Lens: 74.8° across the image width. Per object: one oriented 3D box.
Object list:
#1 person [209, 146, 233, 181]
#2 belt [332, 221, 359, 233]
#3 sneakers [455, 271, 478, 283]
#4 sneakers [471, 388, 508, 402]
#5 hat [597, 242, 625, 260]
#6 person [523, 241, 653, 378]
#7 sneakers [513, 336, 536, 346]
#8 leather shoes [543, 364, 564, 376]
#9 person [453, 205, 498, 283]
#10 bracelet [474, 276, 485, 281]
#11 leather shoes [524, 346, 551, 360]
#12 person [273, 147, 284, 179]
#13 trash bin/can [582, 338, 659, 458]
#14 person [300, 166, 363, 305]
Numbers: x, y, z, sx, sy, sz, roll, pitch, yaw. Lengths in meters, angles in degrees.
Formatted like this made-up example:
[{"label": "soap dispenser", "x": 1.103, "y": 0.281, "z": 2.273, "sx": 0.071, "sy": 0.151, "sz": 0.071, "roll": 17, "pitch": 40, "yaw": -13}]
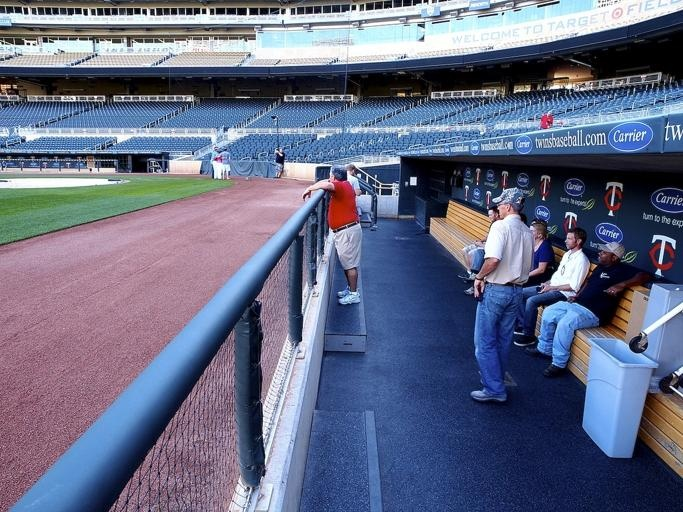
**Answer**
[{"label": "person", "x": -6.195, "y": -4.665, "z": 22.982, "sx": 0.714, "sy": 1.421, "sz": 2.028, "roll": -1, "pitch": 14, "yaw": -8}, {"label": "belt", "x": 0.047, "y": -0.364, "z": 5.552, "sx": 0.161, "sy": 0.037, "sz": 0.159, "roll": -21, "pitch": -3, "yaw": -31}, {"label": "sneakers", "x": 2.180, "y": 0.367, "z": 7.767, "sx": 0.360, "sy": 0.141, "sz": 0.126, "roll": 5, "pitch": 3, "yaw": 44}, {"label": "sneakers", "x": 1.340, "y": 1.266, "z": 4.048, "sx": 0.296, "sy": 0.118, "sz": 0.125, "roll": 3, "pitch": 1, "yaw": 5}, {"label": "hat", "x": 2.890, "y": -0.073, "z": 4.802, "sx": 0.316, "sy": 0.153, "sz": 0.221, "roll": 17, "pitch": 12, "yaw": 31}, {"label": "person", "x": 2.614, "y": 0.517, "z": 4.835, "sx": 1.106, "sy": 1.336, "sz": 0.837, "roll": 1, "pitch": 7, "yaw": 18}, {"label": "sneakers", "x": 2.182, "y": 1.008, "z": 5.342, "sx": 0.271, "sy": 0.111, "sz": 0.106, "roll": 1, "pitch": 2, "yaw": -2}, {"label": "leather shoes", "x": 2.177, "y": 1.173, "z": 4.614, "sx": 0.249, "sy": 0.094, "sz": 0.090, "roll": -2, "pitch": 3, "yaw": -23}, {"label": "person", "x": 2.208, "y": -0.203, "z": 7.419, "sx": 0.709, "sy": 1.035, "sz": 1.539, "roll": -2, "pitch": 13, "yaw": 0}, {"label": "bracelet", "x": 1.234, "y": 0.182, "z": 3.941, "sx": 0.054, "sy": 0.045, "sz": 0.060, "roll": -2, "pitch": 13, "yaw": -11}, {"label": "leather shoes", "x": 2.220, "y": 1.087, "z": 5.044, "sx": 0.099, "sy": 0.110, "sz": 0.261, "roll": -9, "pitch": 23, "yaw": -38}, {"label": "person", "x": -3.402, "y": -5.023, "z": 24.548, "sx": 0.459, "sy": 1.445, "sz": 1.046, "roll": -1, "pitch": 15, "yaw": -8}, {"label": "trash bin/can", "x": 2.084, "y": 1.109, "z": 3.441, "sx": 0.426, "sy": 0.744, "sz": 0.367, "roll": 12, "pitch": 19, "yaw": 37}, {"label": "person", "x": -0.035, "y": -0.232, "z": 5.620, "sx": 0.516, "sy": 1.764, "sz": 1.028, "roll": 7, "pitch": 16, "yaw": 22}]
